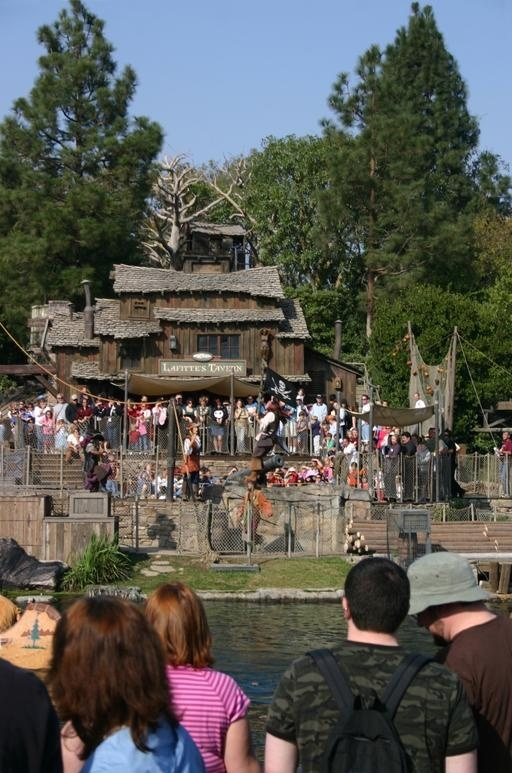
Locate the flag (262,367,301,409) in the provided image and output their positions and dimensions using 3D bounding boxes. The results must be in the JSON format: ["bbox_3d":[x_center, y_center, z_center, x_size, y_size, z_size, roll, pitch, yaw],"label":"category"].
[{"bbox_3d":[0.510,0.038,34.787,0.069,0.673,0.935,-30,-56,28],"label":"flag"}]

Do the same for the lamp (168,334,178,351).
[{"bbox_3d":[-2.260,-1.227,44.048,0.312,0.618,0.335,0,-3,4],"label":"lamp"}]

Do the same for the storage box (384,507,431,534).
[{"bbox_3d":[2.196,1.949,23.676,0.558,0.354,0.943,0,-6,0],"label":"storage box"}]

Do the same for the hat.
[{"bbox_3d":[0.961,1.027,8.257,0.329,0.191,0.317,-13,-6,39],"label":"hat"}]
